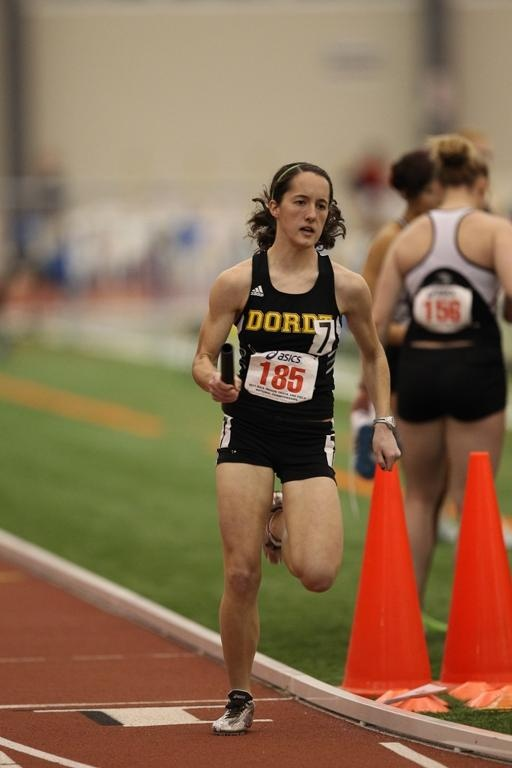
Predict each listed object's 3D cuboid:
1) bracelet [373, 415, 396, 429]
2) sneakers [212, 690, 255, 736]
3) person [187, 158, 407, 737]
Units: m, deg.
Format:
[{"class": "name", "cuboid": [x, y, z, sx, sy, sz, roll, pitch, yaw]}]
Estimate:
[{"class": "bracelet", "cuboid": [0.365, 0.113, 2.389, 0.048, 0.023, 0.045, -2, -6, 21]}, {"class": "sneakers", "cuboid": [-0.049, 0.872, 2.235, 0.063, 0.068, 0.164, -2, -6, 15]}, {"class": "person", "cuboid": [0.114, 0.166, 2.232, 0.567, 1.504, 0.364, 2, -9, -6]}]
